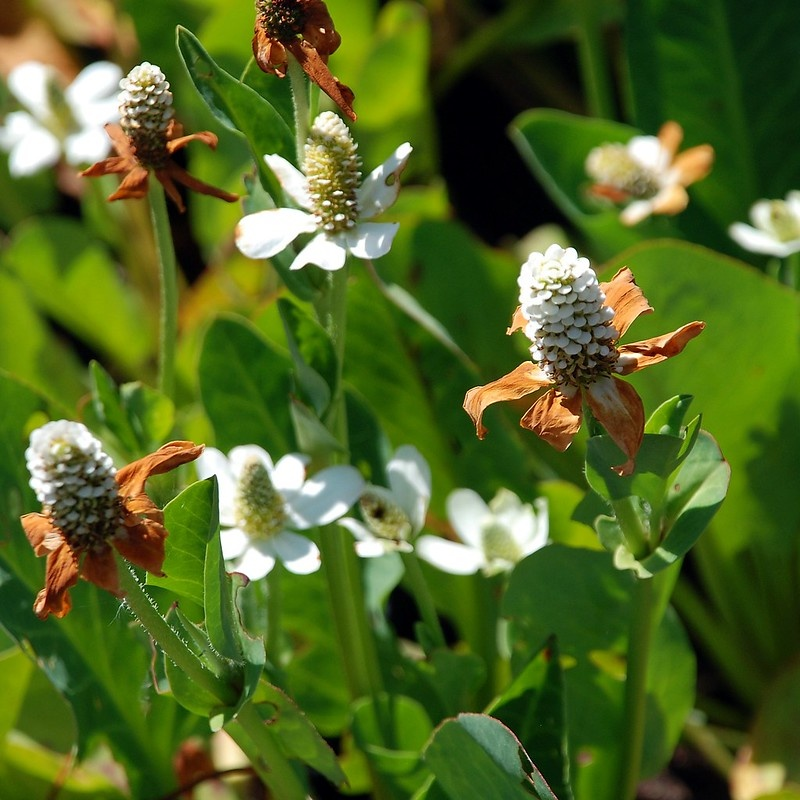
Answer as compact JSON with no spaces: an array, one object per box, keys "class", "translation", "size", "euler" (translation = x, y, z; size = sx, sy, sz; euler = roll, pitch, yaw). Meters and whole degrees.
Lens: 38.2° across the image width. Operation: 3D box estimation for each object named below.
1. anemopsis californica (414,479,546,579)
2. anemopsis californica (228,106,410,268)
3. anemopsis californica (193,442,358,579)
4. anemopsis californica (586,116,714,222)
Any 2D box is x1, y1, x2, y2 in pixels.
[{"class":"anemopsis californica","translation":[0.048,0.070,0.635],"size":[0.058,0.031,0.067],"euler":[-24,25,27]},{"class":"anemopsis californica","translation":[-0.028,-0.094,0.499],"size":[0.056,0.043,0.066],"euler":[17,32,25]},{"class":"anemopsis californica","translation":[-0.060,0.035,0.543],"size":[0.068,0.035,0.070],"euler":[23,31,22]},{"class":"anemopsis californica","translation":[0.175,-0.162,0.816],"size":[0.092,0.036,0.085],"euler":[-14,-26,-42]}]
